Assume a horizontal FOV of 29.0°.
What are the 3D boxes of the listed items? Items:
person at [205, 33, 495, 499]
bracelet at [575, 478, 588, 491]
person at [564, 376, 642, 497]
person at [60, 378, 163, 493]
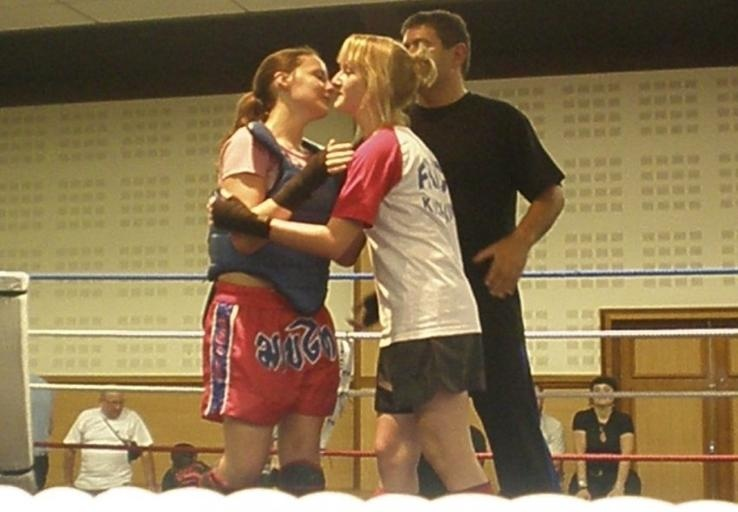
[{"bbox_3d":[0.076,0.044,8.411,1.300,2.699,0.326,1,-4,3],"label":"person"},{"bbox_3d":[1.610,1.751,10.942,0.074,0.063,0.071,-4,-2,10],"label":"bracelet"},{"bbox_3d":[1.806,1.395,11.060,0.541,0.922,0.757,1,-3,9],"label":"person"},{"bbox_3d":[-2.021,1.415,11.060,0.993,0.983,0.460,6,-26,-19],"label":"person"}]
